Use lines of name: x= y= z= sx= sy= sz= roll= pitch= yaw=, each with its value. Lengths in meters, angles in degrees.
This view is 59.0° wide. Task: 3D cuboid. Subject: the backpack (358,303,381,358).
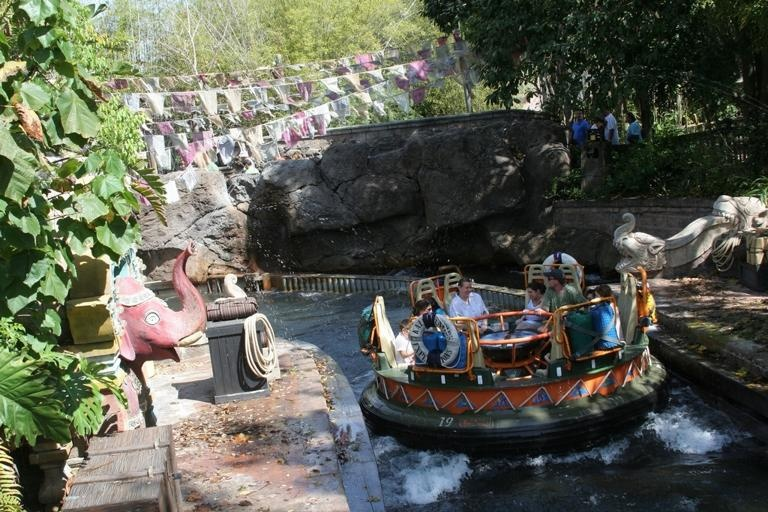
backpack: x=-0.303 y=1.260 z=11.609 sx=0.253 sy=0.794 sz=0.534 roll=5 pitch=12 yaw=3
